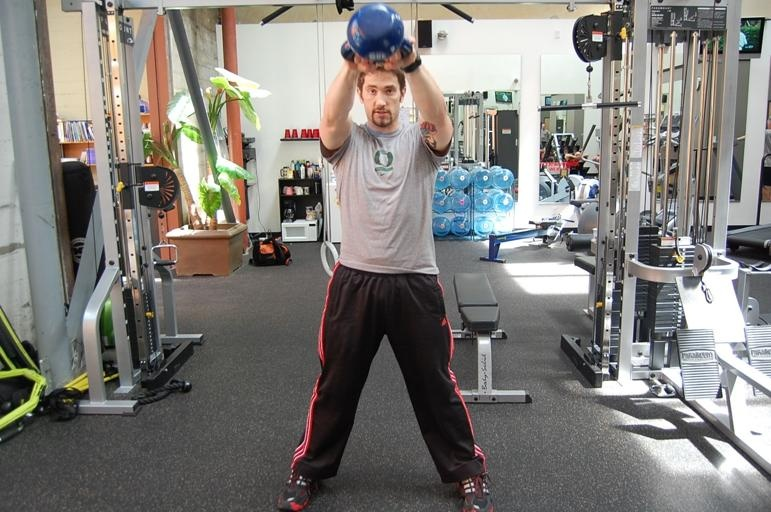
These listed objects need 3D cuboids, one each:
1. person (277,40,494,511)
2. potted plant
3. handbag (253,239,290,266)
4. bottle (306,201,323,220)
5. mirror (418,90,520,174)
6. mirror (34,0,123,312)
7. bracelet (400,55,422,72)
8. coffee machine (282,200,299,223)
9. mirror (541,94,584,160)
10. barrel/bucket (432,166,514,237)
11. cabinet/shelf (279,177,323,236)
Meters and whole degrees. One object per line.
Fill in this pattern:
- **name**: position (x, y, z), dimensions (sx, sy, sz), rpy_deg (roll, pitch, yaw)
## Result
- **person**: position (0.011, 0.192, 3.055), dimensions (1.129, 2.515, 0.495), rpy_deg (-1, 12, 5)
- **potted plant**: position (-2.300, -1.047, 7.192), dimensions (1.337, 2.581, 1.945), rpy_deg (-7, 14, -22)
- **handbag**: position (-1.580, -0.062, 7.880), dimensions (0.438, 0.341, 0.336), rpy_deg (-2, 5, 5)
- **bottle**: position (-1.196, -0.757, 9.523), dimensions (0.318, 0.349, 0.217), rpy_deg (2, -1, 1)
- **mirror**: position (1.755, -2.047, 9.627), dimensions (0.790, 1.028, 0.648), rpy_deg (-1, 12, -30)
- **mirror**: position (-2.550, -0.787, 4.381), dimensions (0.162, 2.304, 0.357), rpy_deg (-3, 12, -6)
- **bracelet**: position (0.138, -0.925, 2.718), dimensions (0.069, 0.085, 0.029), rpy_deg (-13, 11, -34)
- **coffee machine**: position (-1.627, -0.751, 9.578), dimensions (0.224, 0.349, 0.347), rpy_deg (0, -3, -3)
- **mirror**: position (2.897, -2.150, 9.349), dimensions (0.611, 1.085, 0.908), rpy_deg (7, 16, 36)
- **barrel/bucket**: position (1.395, -0.904, 9.454), dimensions (1.188, 1.251, 1.238), rpy_deg (-1, 9, 0)
- **cabinet/shelf**: position (-1.424, -0.863, 9.523), dimensions (0.880, 1.510, 0.381), rpy_deg (-1, 4, -2)
